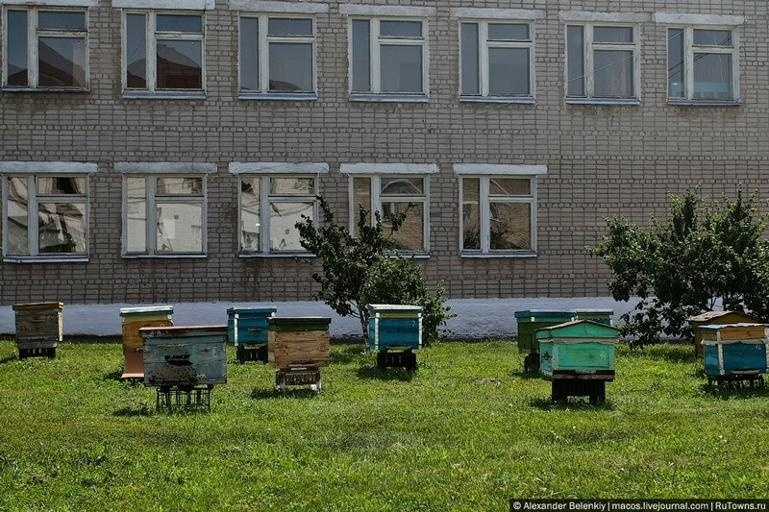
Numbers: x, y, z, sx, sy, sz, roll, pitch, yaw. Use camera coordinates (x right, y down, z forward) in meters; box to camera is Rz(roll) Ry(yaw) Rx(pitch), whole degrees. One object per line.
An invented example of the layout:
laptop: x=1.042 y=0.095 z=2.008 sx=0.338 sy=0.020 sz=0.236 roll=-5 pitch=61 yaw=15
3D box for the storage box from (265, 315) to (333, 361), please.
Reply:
storage box: x=-2.066 y=2.018 z=42.570 sx=1.479 sy=1.182 sz=0.410 roll=-2 pitch=1 yaw=-6

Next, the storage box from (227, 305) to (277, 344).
storage box: x=-3.054 y=1.798 z=46.168 sx=1.819 sy=0.984 sz=1.748 roll=0 pitch=-3 yaw=-8

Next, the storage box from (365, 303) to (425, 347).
storage box: x=0.260 y=1.737 z=44.850 sx=1.140 sy=0.800 sz=1.136 roll=1 pitch=-3 yaw=-4

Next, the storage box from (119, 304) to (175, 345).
storage box: x=-6.060 y=1.570 z=44.148 sx=1.275 sy=0.931 sz=1.004 roll=-1 pitch=3 yaw=-11

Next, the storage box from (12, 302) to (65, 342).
storage box: x=-8.988 y=1.665 z=45.519 sx=1.270 sy=0.998 sz=0.538 roll=-2 pitch=1 yaw=-17

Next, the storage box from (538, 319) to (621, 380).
storage box: x=4.604 y=2.166 z=41.527 sx=1.771 sy=1.410 sz=0.548 roll=-1 pitch=1 yaw=7
